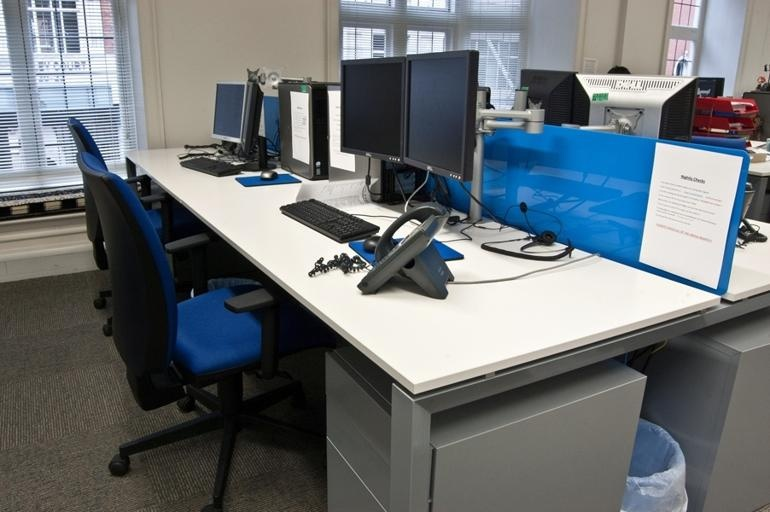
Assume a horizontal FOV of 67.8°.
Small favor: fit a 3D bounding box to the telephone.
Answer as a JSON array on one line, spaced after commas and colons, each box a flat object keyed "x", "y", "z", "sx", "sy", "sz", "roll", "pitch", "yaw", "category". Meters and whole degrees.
[{"x": 0.079, "y": -0.033, "z": 2.205, "sx": 0.308, "sy": 0.354, "sz": 0.366, "roll": -4, "pitch": 14, "yaw": 6, "category": "telephone"}]

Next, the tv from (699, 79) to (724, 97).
[{"x": 2.975, "y": -1.540, "z": 5.238, "sx": 0.199, "sy": 0.158, "sz": 0.274, "roll": 9, "pitch": 23, "yaw": 26, "category": "tv"}]

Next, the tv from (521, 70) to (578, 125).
[{"x": 0.878, "y": -0.887, "z": 3.276, "sx": 0.119, "sy": 0.312, "sz": 0.359, "roll": -19, "pitch": 29, "yaw": -32, "category": "tv"}]

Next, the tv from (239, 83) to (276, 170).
[{"x": -0.856, "y": -0.855, "z": 3.830, "sx": 0.252, "sy": 0.609, "sz": 0.518, "roll": -2, "pitch": 15, "yaw": -22, "category": "tv"}]

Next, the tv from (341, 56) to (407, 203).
[{"x": -0.048, "y": -0.647, "z": 2.907, "sx": 0.166, "sy": 0.713, "sz": 0.619, "roll": -9, "pitch": 18, "yaw": -32, "category": "tv"}]

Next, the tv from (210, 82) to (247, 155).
[{"x": -1.073, "y": -0.988, "z": 4.002, "sx": 0.053, "sy": 0.392, "sz": 0.521, "roll": -1, "pitch": 14, "yaw": -38, "category": "tv"}]

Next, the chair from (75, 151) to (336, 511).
[{"x": -0.817, "y": 0.023, "z": 3.128, "sx": 1.363, "sy": 1.888, "sz": 1.400, "roll": -11, "pitch": 28, "yaw": -32, "category": "chair"}]

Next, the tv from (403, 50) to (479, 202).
[{"x": 0.237, "y": -0.648, "z": 2.561, "sx": 0.054, "sy": 0.501, "sz": 0.503, "roll": -9, "pitch": 19, "yaw": -27, "category": "tv"}]

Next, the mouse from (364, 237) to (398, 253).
[{"x": -0.024, "y": -0.046, "z": 2.344, "sx": 0.098, "sy": 0.034, "sz": 0.073, "roll": 0, "pitch": 14, "yaw": -6, "category": "mouse"}]

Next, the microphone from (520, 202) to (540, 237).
[{"x": 0.652, "y": -0.175, "z": 2.608, "sx": 0.037, "sy": 0.207, "sz": 0.049, "roll": -21, "pitch": 0, "yaw": -33, "category": "microphone"}]
